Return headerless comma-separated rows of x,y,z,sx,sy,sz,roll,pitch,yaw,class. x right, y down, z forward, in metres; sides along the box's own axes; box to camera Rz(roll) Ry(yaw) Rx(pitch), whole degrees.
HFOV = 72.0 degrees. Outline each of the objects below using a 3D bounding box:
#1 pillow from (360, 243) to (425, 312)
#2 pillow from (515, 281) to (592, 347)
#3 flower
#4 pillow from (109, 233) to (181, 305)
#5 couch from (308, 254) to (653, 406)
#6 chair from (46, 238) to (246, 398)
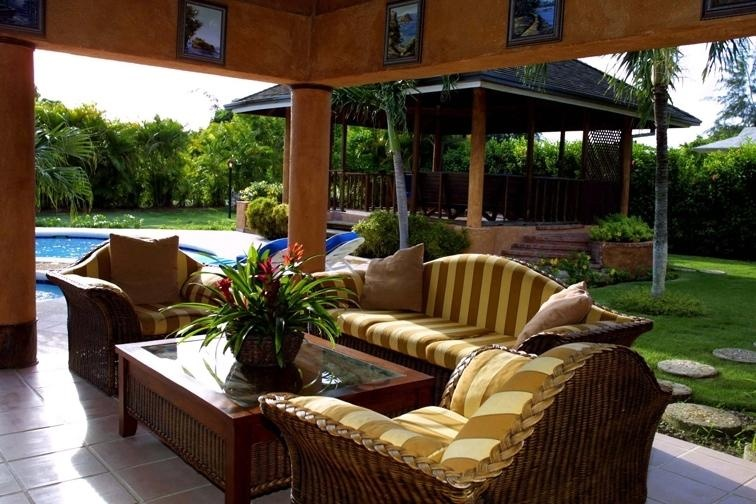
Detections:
0.151,0.303,5.307,0.716,0.632,0.261,-6,-14,35,pillow
1.172,0.391,3.825,0.519,0.405,0.687,0,15,19,pillow
-0.773,0.383,3.782,1.128,0.639,1.092,0,4,-3,flower
-2.258,0.178,5.014,0.685,0.674,0.247,1,-17,-29,pillow
0.685,0.721,4.804,1.189,1.270,3.344,-3,4,-27,couch
-2.172,0.488,5.071,0.981,1.186,1.710,10,8,37,chair
